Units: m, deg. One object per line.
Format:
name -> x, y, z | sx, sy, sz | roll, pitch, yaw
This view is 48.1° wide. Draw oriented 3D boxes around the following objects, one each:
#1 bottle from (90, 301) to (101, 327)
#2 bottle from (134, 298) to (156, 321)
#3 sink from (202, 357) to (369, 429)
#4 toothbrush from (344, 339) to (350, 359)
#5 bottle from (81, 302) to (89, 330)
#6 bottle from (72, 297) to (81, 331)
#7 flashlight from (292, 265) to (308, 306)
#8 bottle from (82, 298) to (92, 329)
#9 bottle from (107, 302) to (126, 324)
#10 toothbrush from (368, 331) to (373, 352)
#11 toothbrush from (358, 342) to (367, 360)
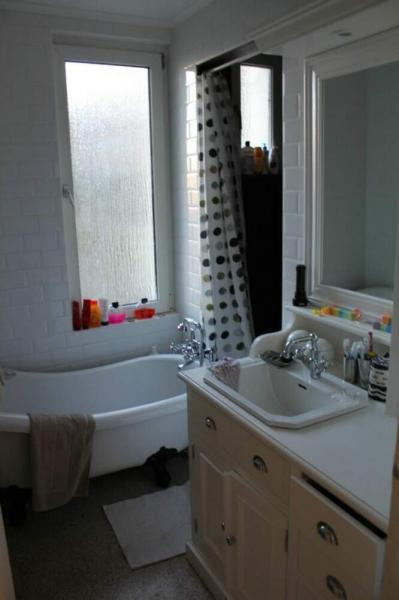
bottle -> -0.701, 0.091, 3.026 | 0.064, 0.166, 0.073 | -2, 9, -8
bottle -> -0.385, 0.058, 3.205 | 0.110, 0.142, 0.175 | 5, 11, 35
sink -> 0.275, 0.351, 1.516 | 0.406, 0.178, 0.554 | -6, 11, -25
toothbrush -> 0.514, 0.169, 1.574 | 0.018, 0.071, 0.045 | 1, -13, 19
bottle -> -0.762, 0.100, 2.971 | 0.049, 0.172, 0.014 | 1, 9, 10
bottle -> -0.818, 0.087, 2.968 | 0.052, 0.209, 0.098 | -3, 9, -17
flashlight -> 0.433, -0.064, 1.930 | 0.063, 0.175, 0.047 | 2, 9, 18
bottle -> -0.756, 0.092, 2.974 | 0.059, 0.189, 0.038 | -1, 9, -2
bottle -> -0.582, 0.091, 3.106 | 0.118, 0.163, 0.050 | -4, 1, -35
toothbrush -> 0.577, 0.142, 1.515 | 0.015, 0.063, 0.024 | 3, 9, 21
toothbrush -> 0.554, 0.175, 1.529 | 0.027, 0.057, 0.022 | 5, 10, 33
